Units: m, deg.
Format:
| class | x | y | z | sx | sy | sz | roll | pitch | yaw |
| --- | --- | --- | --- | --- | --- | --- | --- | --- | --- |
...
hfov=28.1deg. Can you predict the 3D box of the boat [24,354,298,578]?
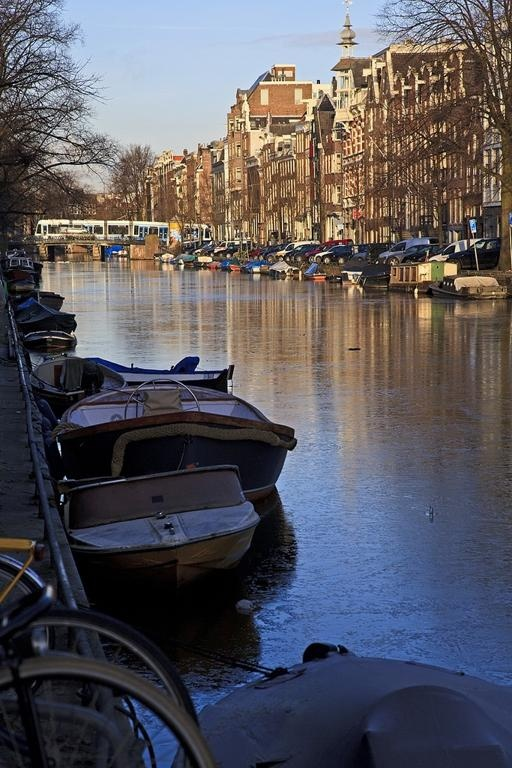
| class | x | y | z | sx | sy | sz | roll | pitch | yaw |
| --- | --- | --- | --- | --- | --- | --- | --- | --- | --- |
| boat | -0.878 | 0.808 | 8.810 | 1.625 | 0.895 | 3.833 | -1 | 6 | -7 |
